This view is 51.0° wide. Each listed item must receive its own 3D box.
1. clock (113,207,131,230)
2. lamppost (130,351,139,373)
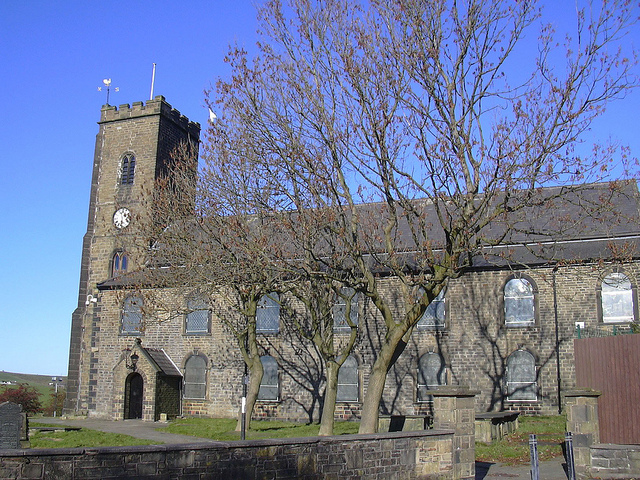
[{"bbox_3d":[-13.037,-1.428,44.800,1.210,1.388,0.099,-9,-3,9],"label":"clock"},{"bbox_3d":[-10.334,6.879,37.871,0.533,1.002,0.219,-9,-15,42],"label":"lamppost"}]
